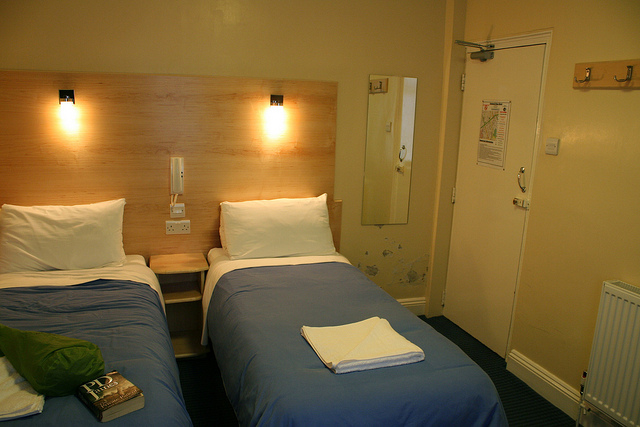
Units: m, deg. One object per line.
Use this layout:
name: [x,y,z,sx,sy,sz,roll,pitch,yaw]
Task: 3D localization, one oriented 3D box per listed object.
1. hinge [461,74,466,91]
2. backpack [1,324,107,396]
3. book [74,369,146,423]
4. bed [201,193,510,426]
hinge: [1.468,-1.345,4.614,0.039,0.155,0.022,1,14,13]
backpack: [-1.533,0.842,2.596,0.254,0.200,0.840,5,2,-44]
book: [-1.207,1.050,2.589,0.353,0.160,0.240,8,16,38]
bed: [0.023,0.660,3.466,1.620,1.168,2.221,-6,13,-20]
